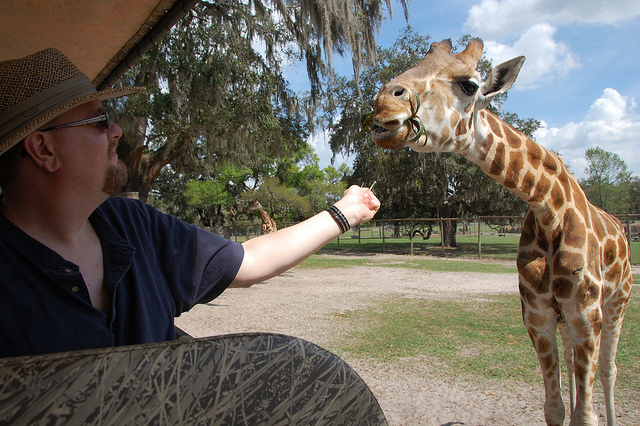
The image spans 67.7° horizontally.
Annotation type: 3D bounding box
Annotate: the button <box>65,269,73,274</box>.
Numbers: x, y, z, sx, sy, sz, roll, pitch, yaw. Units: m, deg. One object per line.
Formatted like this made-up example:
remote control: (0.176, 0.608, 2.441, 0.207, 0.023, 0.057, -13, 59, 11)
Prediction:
button: (-1.208, 0.279, 2.294, 0.033, 0.019, 0.007, -2, 0, -6)

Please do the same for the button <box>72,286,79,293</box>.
button: (-1.183, 0.366, 2.302, 0.025, 0.032, 0.006, 7, -1, -7)
